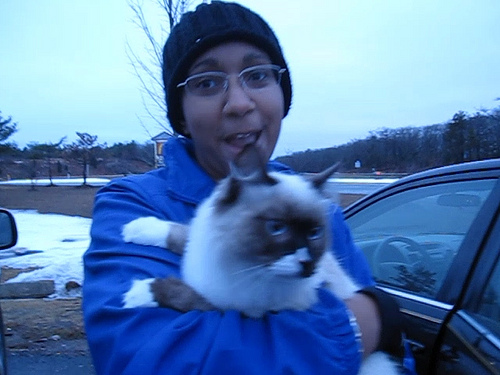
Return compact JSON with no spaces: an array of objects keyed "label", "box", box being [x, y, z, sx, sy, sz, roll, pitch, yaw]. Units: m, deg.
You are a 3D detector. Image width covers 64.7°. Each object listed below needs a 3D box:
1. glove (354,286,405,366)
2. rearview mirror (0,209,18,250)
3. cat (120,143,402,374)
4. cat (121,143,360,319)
[{"label":"glove","box":[0.579,0.594,1.736,0.119,0.308,0.218,5,-5,-23]},{"label":"rearview mirror","box":[-1.748,0.304,2.877,0.102,0.250,0.259,-5,13,-31]},{"label":"cat","box":[-0.021,0.170,1.685,1.019,0.635,0.409,0,10,-8]},{"label":"cat","box":[-0.016,0.171,1.683,1.007,0.635,0.512,-2,11,-19]}]
